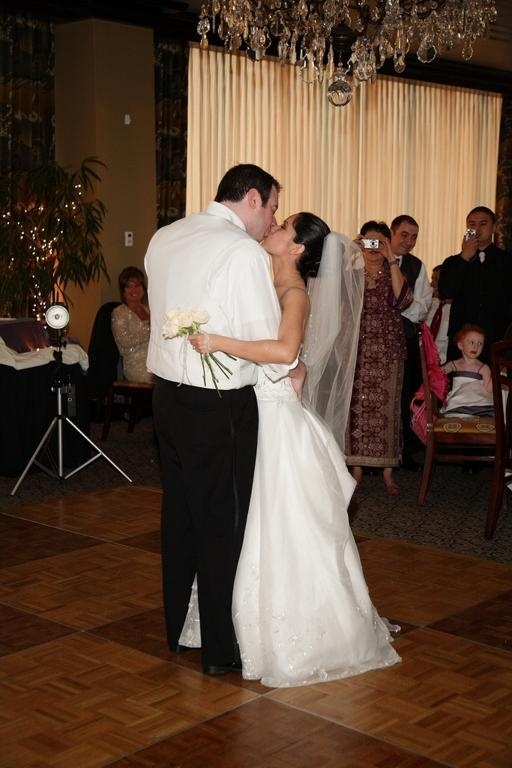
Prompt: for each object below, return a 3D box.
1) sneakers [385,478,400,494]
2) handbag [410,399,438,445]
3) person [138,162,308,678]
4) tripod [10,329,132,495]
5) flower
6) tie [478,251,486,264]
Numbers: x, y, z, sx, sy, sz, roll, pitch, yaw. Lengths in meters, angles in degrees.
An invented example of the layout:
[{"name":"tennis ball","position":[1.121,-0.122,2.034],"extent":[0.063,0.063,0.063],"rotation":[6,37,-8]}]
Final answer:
[{"name":"sneakers","position":[0.873,0.662,4.025],"extent":[0.040,0.109,0.112],"rotation":[-8,-32,-19]},{"name":"handbag","position":[1.008,0.227,3.805],"extent":[0.082,0.253,0.175],"rotation":[1,-1,1]},{"name":"person","position":[-0.112,0.113,1.588],"extent":[0.344,1.331,0.540],"rotation":[1,-2,-11]},{"name":"tripod","position":[-1.374,0.157,4.301],"extent":[0.549,1.102,0.665],"rotation":[1,-2,-21]},{"name":"flower","position":[-0.135,-0.067,1.425],"extent":[0.164,0.173,0.245],"rotation":[1,-2,1]},{"name":"tie","position":[1.715,-0.976,4.745],"extent":[0.050,0.088,0.017],"rotation":[1,-2,-17]}]
